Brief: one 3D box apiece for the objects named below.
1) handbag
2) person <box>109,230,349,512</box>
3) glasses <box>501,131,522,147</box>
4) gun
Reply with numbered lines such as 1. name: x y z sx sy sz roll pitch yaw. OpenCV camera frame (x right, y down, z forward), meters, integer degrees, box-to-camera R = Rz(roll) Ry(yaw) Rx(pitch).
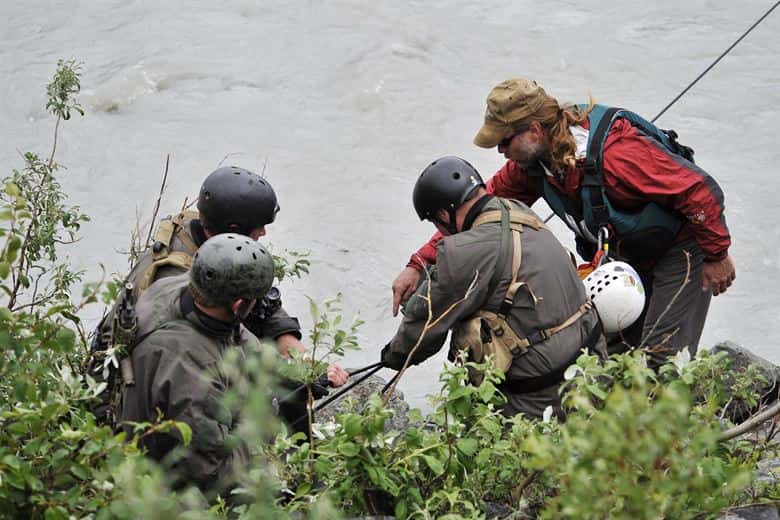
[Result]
1. handbag: 0.842 0.782 9.801 0.412 0.538 0.569 -1 14 14
2. person: -1.461 1.018 8.954 1.065 1.123 2.191 -20 -22 -22
3. glasses: 1.249 -1.258 10.839 0.155 0.163 0.050 -23 -41 39
4. gun: -2.370 0.914 9.170 0.243 1.425 0.661 5 26 -3
